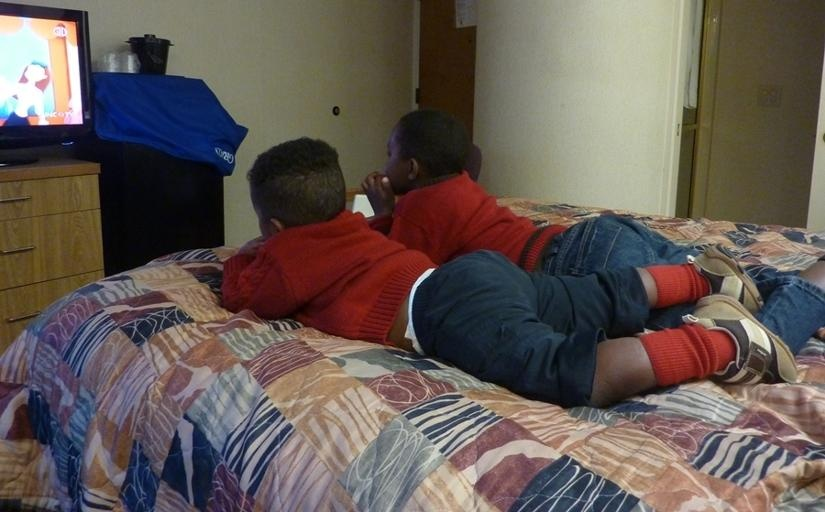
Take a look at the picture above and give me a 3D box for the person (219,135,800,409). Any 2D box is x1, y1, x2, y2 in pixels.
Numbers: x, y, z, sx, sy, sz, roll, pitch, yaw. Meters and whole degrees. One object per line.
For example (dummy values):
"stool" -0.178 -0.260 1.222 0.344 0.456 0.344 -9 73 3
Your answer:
"person" 0.148 0.011 1.979 2.072 0.815 0.764 2 4 33

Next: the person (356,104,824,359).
"person" 0.482 -0.094 2.352 1.938 0.840 0.708 21 35 40
